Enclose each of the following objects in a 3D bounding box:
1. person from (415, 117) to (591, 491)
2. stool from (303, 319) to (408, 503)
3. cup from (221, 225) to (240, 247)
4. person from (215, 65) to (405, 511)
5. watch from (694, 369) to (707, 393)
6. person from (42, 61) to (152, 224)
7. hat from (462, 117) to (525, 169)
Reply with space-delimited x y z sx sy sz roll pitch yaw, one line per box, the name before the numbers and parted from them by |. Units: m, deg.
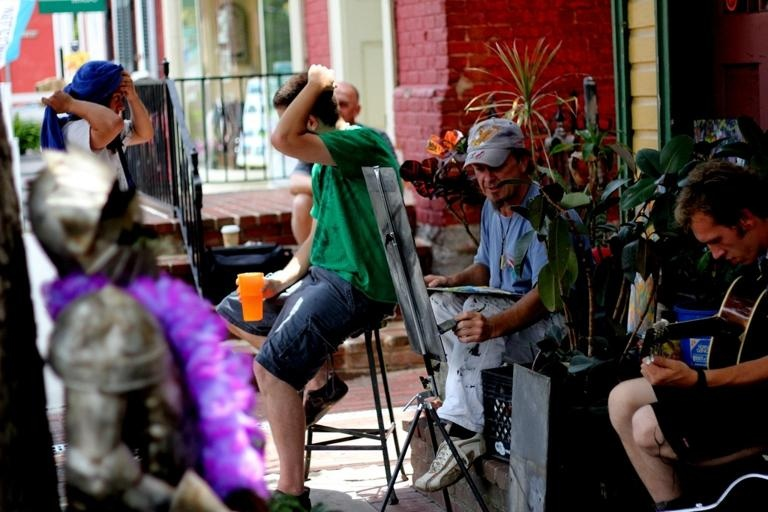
person | 0.543 0.241 5.142 0.774 1.906 0.981 -2 5 10
stool | -0.097 0.895 5.911 0.813 1.242 0.842 -2 -7 3
cup | -1.245 -0.183 8.297 0.177 0.197 0.184 0 10 0
person | -0.345 0.125 5.296 0.906 2.263 0.915 -3 5 -12
watch | 1.329 0.524 4.178 0.046 0.100 0.041 -1 5 12
person | -1.726 -0.812 5.973 0.614 0.752 0.914 -4 5 -15
hat | 0.567 -0.616 5.253 0.295 0.253 0.448 4 16 45
